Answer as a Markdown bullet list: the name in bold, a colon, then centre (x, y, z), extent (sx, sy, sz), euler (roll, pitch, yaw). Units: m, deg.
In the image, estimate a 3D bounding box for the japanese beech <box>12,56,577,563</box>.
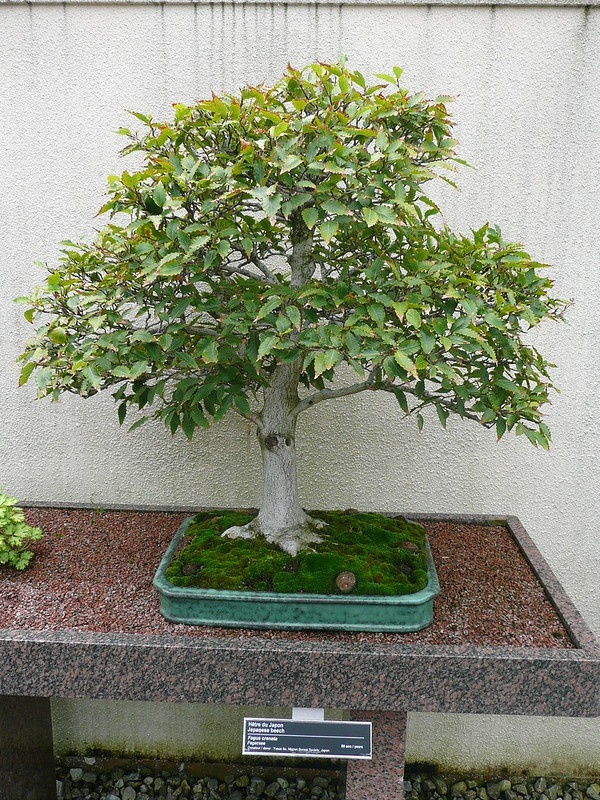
- **japanese beech**: centre (-0.017, -0.230, 1.951), extent (1.398, 1.335, 0.991), euler (4, 12, 18)
